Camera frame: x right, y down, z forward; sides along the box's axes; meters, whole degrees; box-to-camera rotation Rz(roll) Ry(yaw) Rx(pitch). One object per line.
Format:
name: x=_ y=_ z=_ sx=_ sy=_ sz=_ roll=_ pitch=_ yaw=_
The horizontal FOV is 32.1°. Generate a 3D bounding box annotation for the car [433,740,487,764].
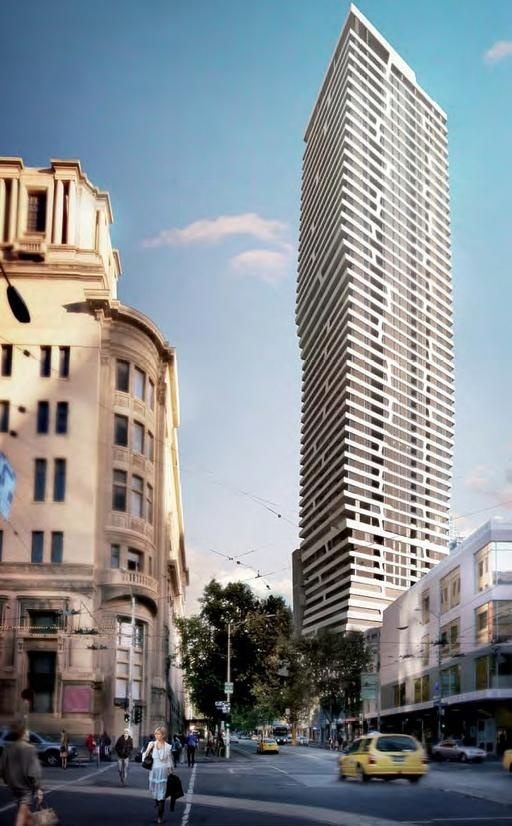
car: x=13.405 y=22.842 z=59.812 sx=2.041 sy=1.271 sz=6.428 roll=1 pitch=-17 yaw=-3

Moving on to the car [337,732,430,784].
car: x=3.742 y=10.661 z=27.449 sx=1.567 sy=1.133 sz=3.424 roll=1 pitch=-13 yaw=-4

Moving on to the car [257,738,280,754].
car: x=0.917 y=28.825 z=76.928 sx=1.298 sy=0.985 sz=2.692 roll=1 pitch=-26 yaw=-3
